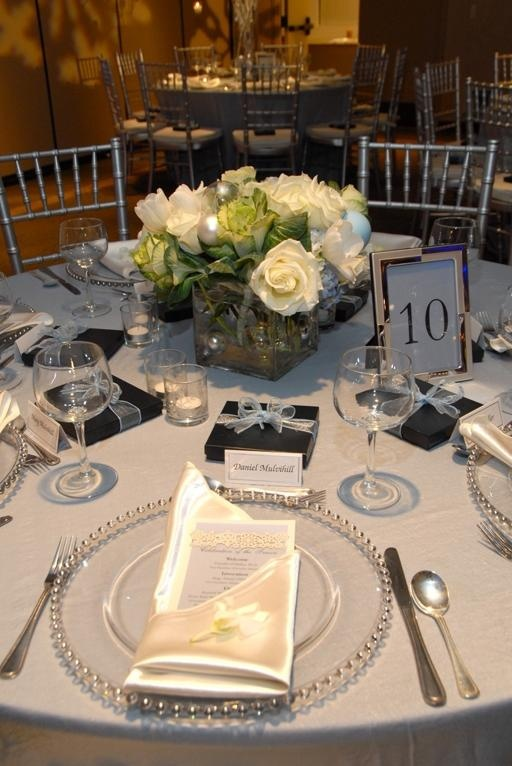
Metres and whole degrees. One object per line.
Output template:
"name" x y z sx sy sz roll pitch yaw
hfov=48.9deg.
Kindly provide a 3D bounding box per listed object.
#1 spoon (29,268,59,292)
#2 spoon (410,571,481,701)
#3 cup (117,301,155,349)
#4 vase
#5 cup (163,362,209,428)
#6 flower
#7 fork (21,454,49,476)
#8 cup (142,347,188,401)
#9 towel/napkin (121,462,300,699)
"spoon" -0.580 -0.283 1.536 0.041 0.021 0.136 -10 25 -22
"spoon" 0.154 0.220 0.493 0.031 0.019 0.156 -14 15 18
"cup" -0.254 -0.127 1.197 0.082 0.103 0.091 -2 26 -3
"vase" -0.003 -0.123 1.085 0.186 0.166 0.188 9 20 27
"cup" -0.098 0.015 0.956 0.090 0.107 0.093 -1 22 0
"flower" -0.010 -0.243 1.030 0.319 0.191 0.324 0 10 -1
"fork" -0.316 0.116 0.802 0.019 0.005 0.033 -6 38 -42
"cup" -0.152 -0.020 1.021 0.081 0.095 0.083 0 23 0
"towel/napkin" -0.038 0.181 0.561 0.151 0.034 0.307 -3 24 -5
